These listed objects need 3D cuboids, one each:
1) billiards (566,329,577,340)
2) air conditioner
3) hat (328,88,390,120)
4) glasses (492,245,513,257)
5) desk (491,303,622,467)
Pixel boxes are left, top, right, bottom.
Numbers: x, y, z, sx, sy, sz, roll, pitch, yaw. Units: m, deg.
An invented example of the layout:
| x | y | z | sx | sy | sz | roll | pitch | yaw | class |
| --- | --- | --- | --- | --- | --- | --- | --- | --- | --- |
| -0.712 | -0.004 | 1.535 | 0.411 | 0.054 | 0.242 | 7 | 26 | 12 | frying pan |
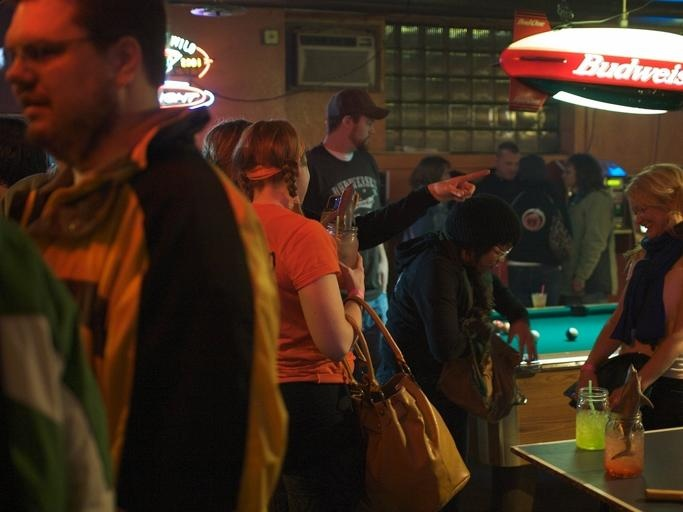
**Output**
| x | y | z | sx | sy | sz | roll | pitch | yaw | class |
| --- | --- | --- | --- | --- | --- | --- | --- | --- | --- |
| 1.385 | 0.467 | 4.392 | 0.055 | 0.076 | 0.060 | 0 | 6 | 6 | billiards |
| -0.034 | -1.966 | 7.329 | 0.864 | 0.737 | 0.500 | -1 | 9 | -9 | air conditioner |
| 0.079 | -0.839 | 4.012 | 0.255 | 0.150 | 0.177 | -9 | 14 | 0 | hat |
| 0.757 | -0.026 | 3.439 | 0.086 | 0.029 | 0.085 | 3 | -3 | -39 | glasses |
| 0.977 | 0.520 | 3.605 | 0.811 | 0.391 | 0.576 | -6 | 7 | -33 | desk |
